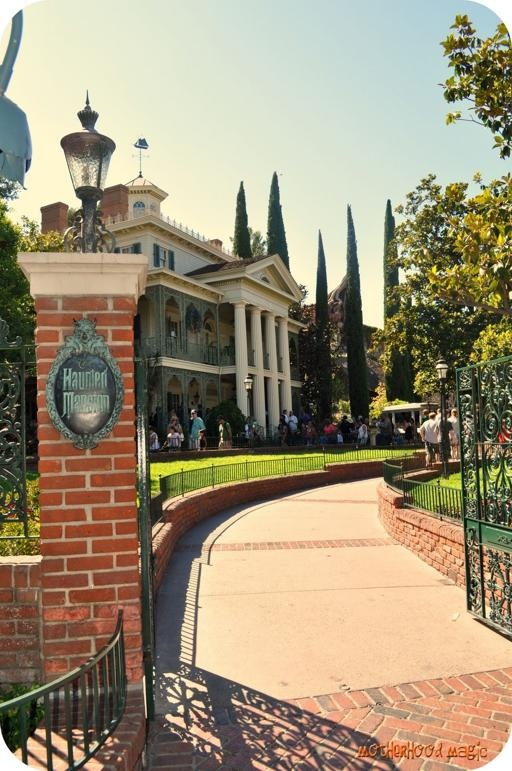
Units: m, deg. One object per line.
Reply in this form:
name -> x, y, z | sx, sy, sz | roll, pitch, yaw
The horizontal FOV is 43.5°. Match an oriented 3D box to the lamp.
lamp -> -1.149, -1.345, 4.448 | 0.370, 1.156, 0.375 | -3, -7, -4

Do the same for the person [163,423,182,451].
person -> -2.881, 1.806, 22.762 | 0.506, 0.964, 1.095 | -1, -4, -6

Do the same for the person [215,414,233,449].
person -> -1.101, 1.714, 23.162 | 0.396, 1.134, 0.996 | -1, -4, -6
